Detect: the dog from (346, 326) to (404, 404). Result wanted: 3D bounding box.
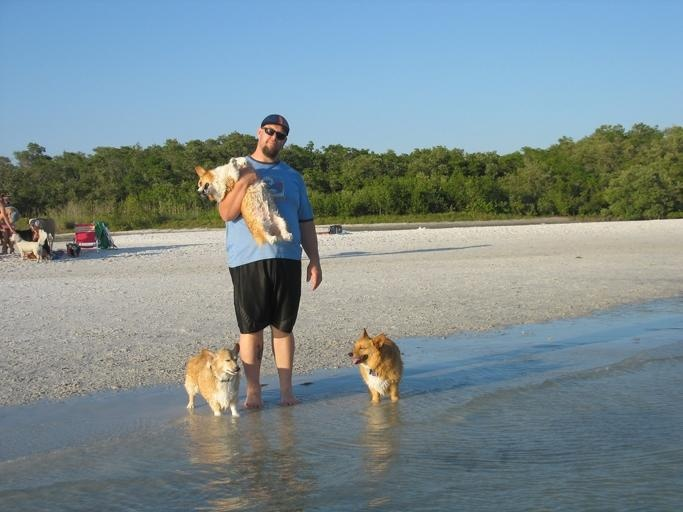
[{"bbox_3d":[0.394,1.094,5.977,0.411,0.668,0.870,-8,-9,28],"label":"dog"}]

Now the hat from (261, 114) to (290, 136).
[{"bbox_3d":[-0.571,-1.139,5.254,0.217,0.182,0.506,-2,7,-8],"label":"hat"}]

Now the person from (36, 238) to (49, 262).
[{"bbox_3d":[-8.722,-0.175,17.841,0.280,0.697,0.729,2,-39,-17],"label":"person"}]
